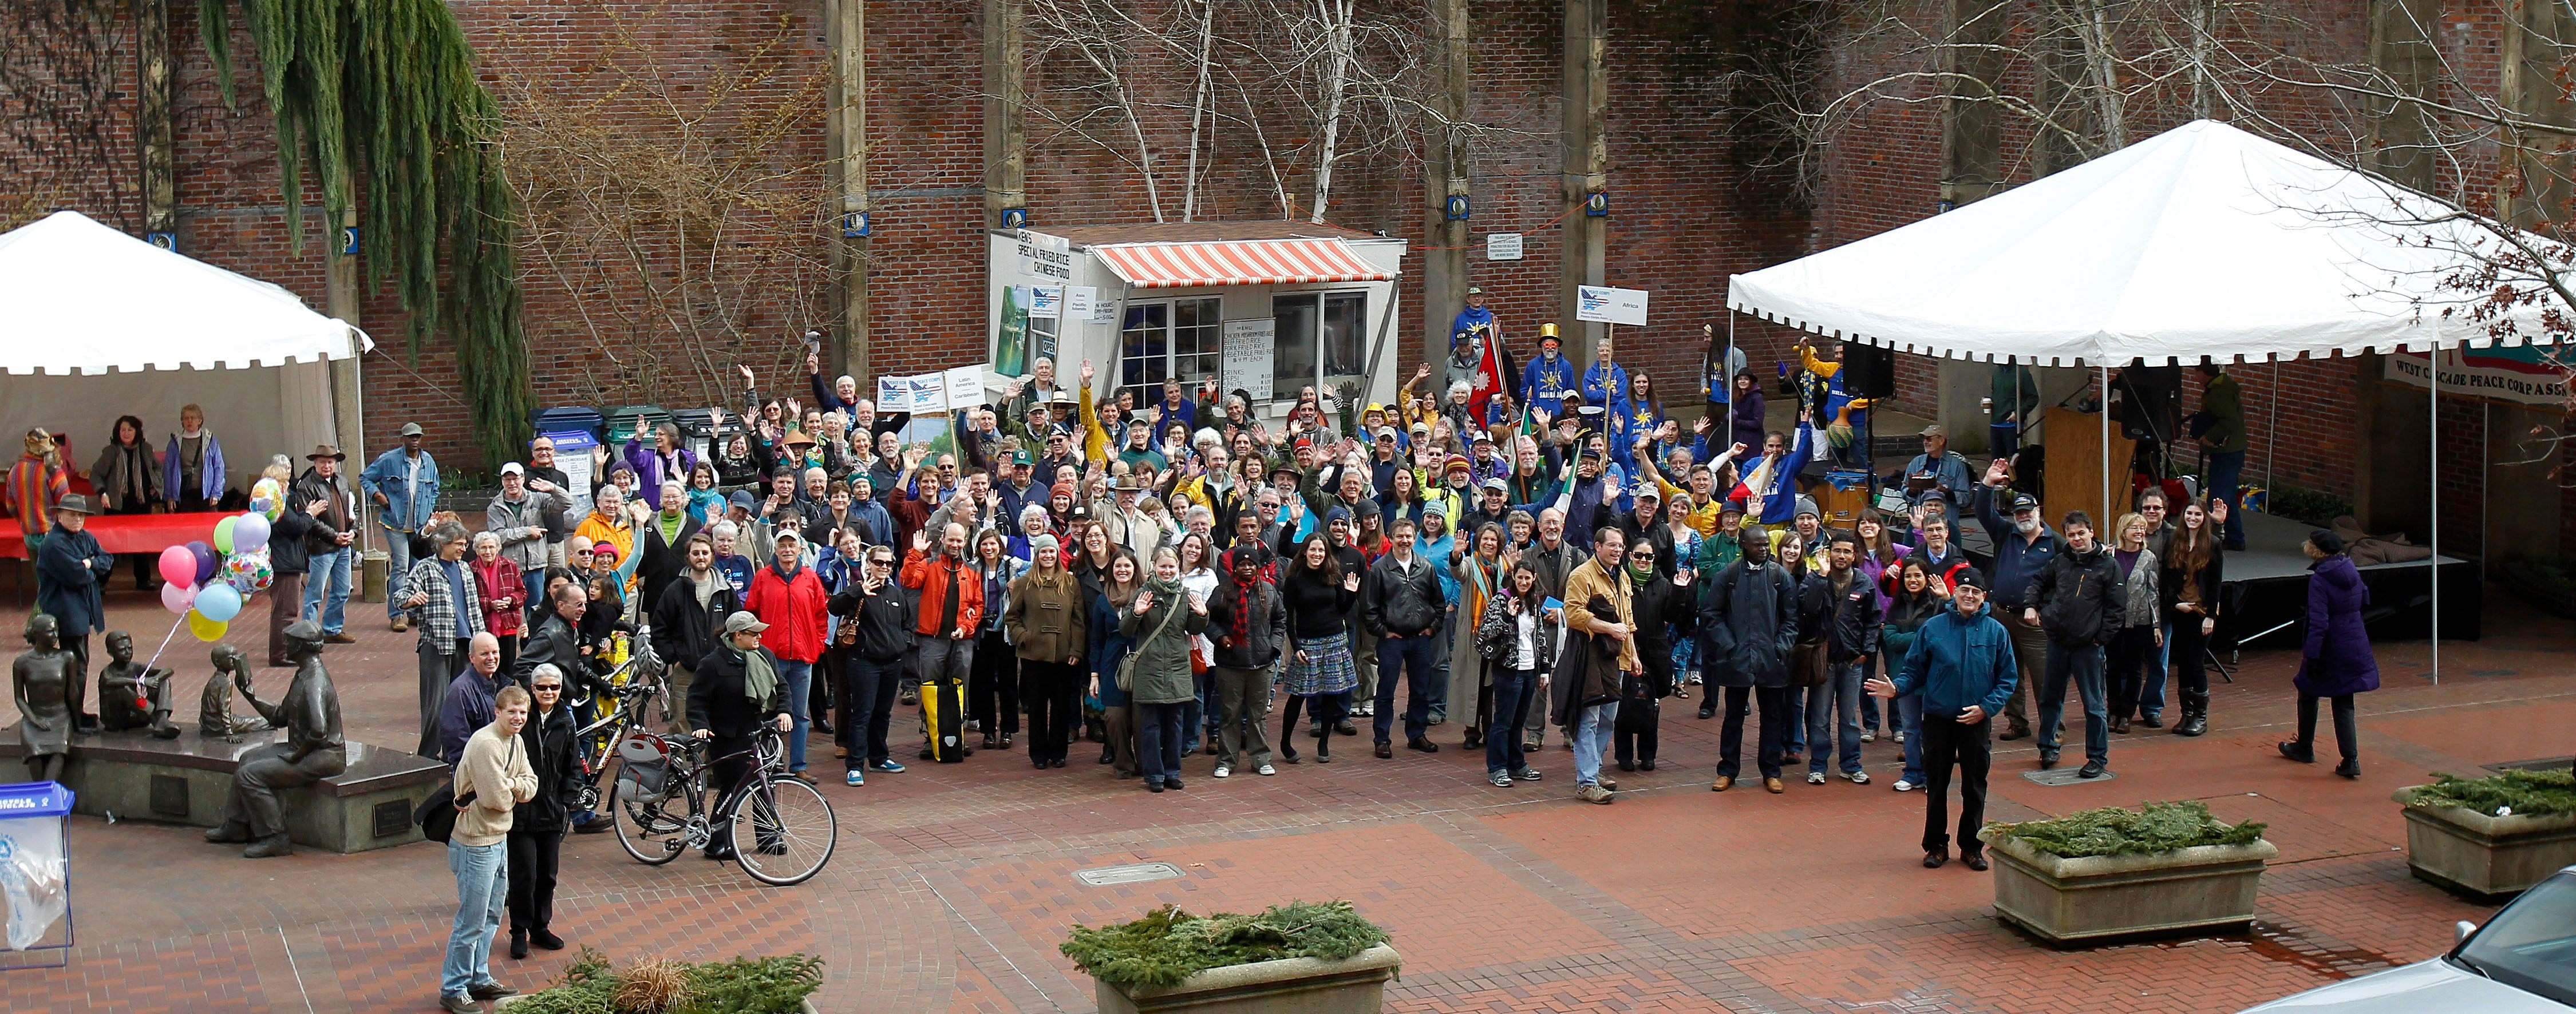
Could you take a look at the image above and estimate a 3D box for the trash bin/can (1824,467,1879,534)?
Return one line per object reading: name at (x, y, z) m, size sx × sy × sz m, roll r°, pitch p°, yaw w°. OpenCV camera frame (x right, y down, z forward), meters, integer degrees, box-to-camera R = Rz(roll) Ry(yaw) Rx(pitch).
trash bin/can at (10.380, -0.122, 45.287) m, size 0.906 × 1.108 × 1.384 m, roll 2°, pitch -2°, yaw -24°
